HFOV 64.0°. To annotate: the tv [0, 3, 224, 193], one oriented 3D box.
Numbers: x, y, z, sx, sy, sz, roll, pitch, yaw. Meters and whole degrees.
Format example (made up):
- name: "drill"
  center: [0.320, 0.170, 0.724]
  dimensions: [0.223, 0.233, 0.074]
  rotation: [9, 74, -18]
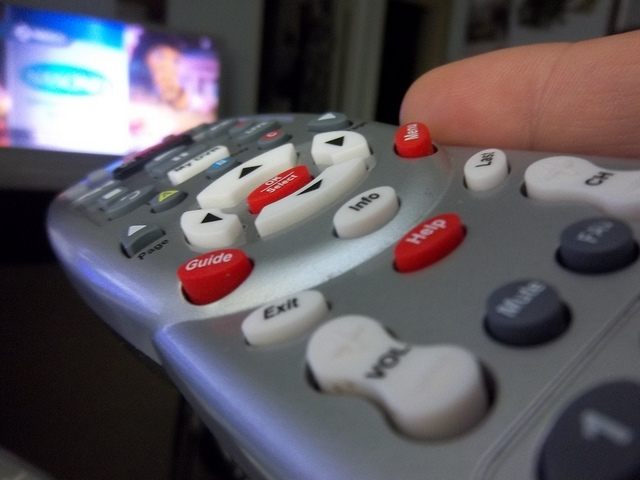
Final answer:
- name: "tv"
  center: [-0.221, -0.144, 0.514]
  dimensions: [0.240, 0.161, 0.022]
  rotation: [-5, 11, -32]
